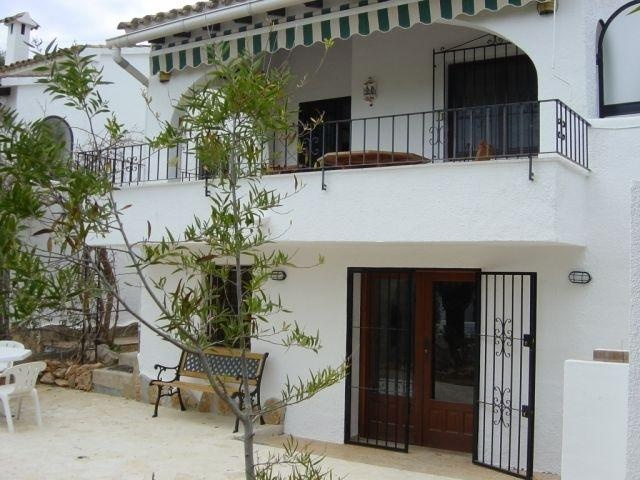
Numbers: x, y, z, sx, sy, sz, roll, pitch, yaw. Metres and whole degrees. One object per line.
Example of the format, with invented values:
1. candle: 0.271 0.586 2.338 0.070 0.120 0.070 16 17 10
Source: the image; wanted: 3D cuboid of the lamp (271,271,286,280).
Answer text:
1. lamp: -0.762 0.626 11.712 0.351 0.192 0.167 2 0 36
